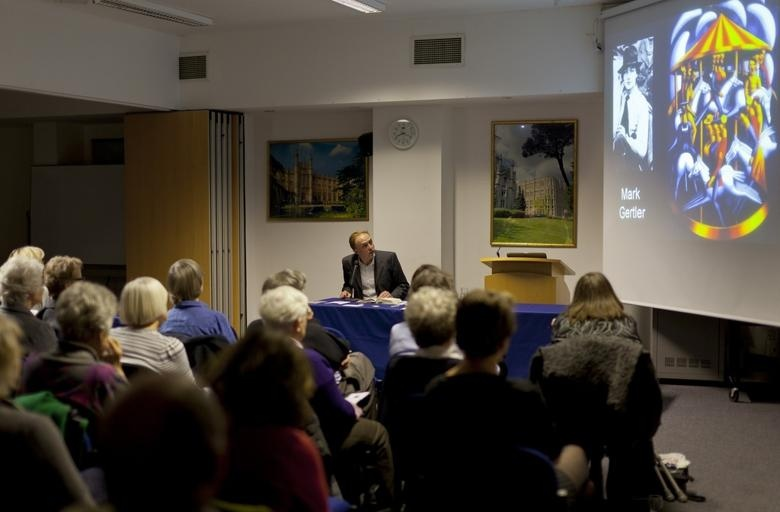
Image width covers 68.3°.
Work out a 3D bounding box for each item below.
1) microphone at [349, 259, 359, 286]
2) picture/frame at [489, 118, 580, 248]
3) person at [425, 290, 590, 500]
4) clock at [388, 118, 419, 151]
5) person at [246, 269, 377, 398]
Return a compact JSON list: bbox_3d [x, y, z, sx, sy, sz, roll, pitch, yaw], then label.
[{"bbox_3d":[-0.406,0.180,6.478,0.125,0.267,0.141,-4,-7,0],"label":"microphone"},{"bbox_3d":[1.897,-0.972,7.370,1.387,2.238,0.088,1,3,20],"label":"picture/frame"},{"bbox_3d":[0.492,0.587,3.034,0.758,1.194,0.906,-2,19,4],"label":"person"},{"bbox_3d":[0.179,-1.581,7.489,0.403,0.411,0.047,10,8,18],"label":"clock"},{"bbox_3d":[-0.472,0.507,3.970,0.755,1.007,0.686,2,1,8],"label":"person"}]
